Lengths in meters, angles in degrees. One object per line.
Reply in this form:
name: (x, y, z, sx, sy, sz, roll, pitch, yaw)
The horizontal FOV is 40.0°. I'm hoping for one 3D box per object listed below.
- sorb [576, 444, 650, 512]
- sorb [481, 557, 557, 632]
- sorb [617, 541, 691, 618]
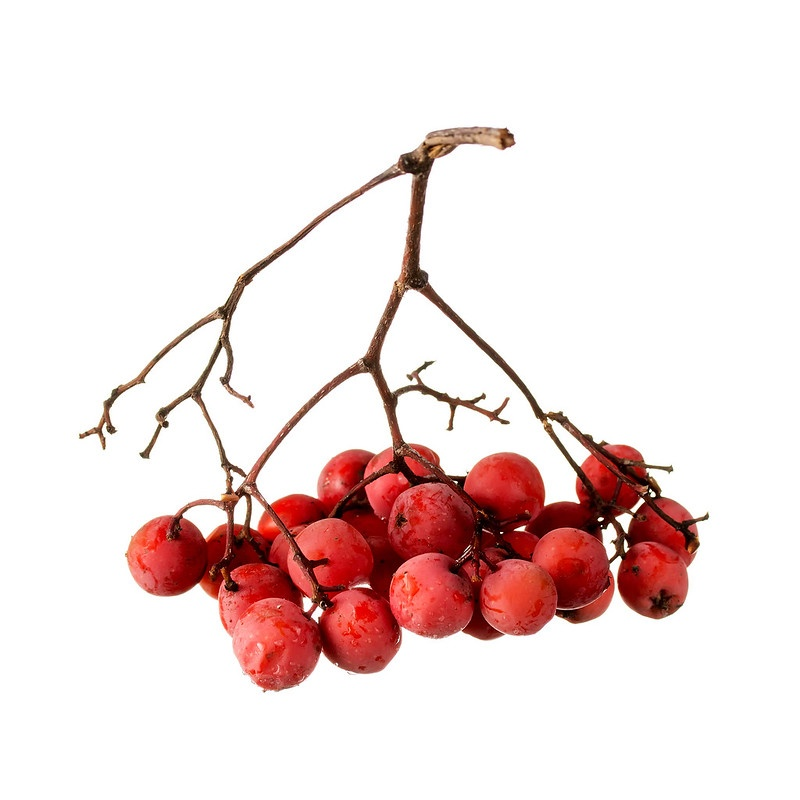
sorb: (0.715, 0.274, 3.708, 0.210, 0.177, 0.175, -47, 10, -38)
sorb: (0.325, 0.568, 3.163, 0.193, 0.201, 0.225, 2, -21, 0)
sorb: (0.810, 0.586, 3.566, 0.215, 0.222, 0.173, 11, 17, -3)
